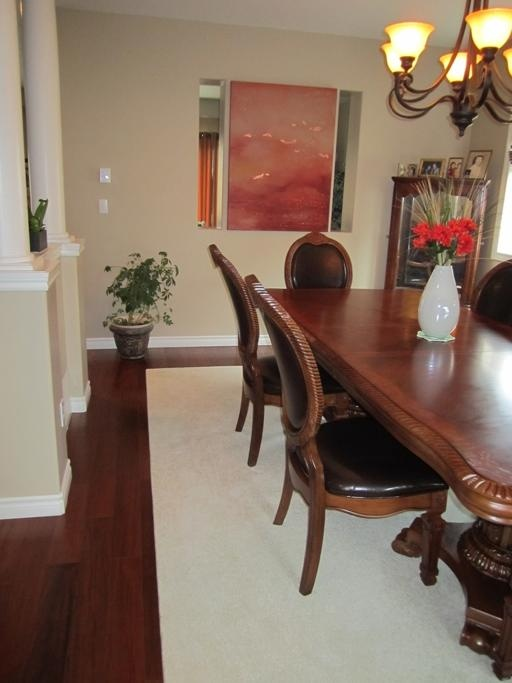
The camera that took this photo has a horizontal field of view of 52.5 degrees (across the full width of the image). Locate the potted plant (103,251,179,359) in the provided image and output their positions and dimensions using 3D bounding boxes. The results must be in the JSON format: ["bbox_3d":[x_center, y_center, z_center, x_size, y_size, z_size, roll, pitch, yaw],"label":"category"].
[{"bbox_3d":[-0.889,-0.286,4.033,0.594,0.822,0.610,-1,13,-10],"label":"potted plant"}]

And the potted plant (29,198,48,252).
[{"bbox_3d":[-0.962,-0.513,2.276,0.085,0.219,0.099,9,21,13],"label":"potted plant"}]

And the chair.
[{"bbox_3d":[0.348,0.260,1.867,0.607,1.013,1.338,-6,26,-8],"label":"chair"}]

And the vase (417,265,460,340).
[{"bbox_3d":[0.676,-0.150,1.918,0.145,0.260,0.144,8,-6,-4],"label":"vase"}]
